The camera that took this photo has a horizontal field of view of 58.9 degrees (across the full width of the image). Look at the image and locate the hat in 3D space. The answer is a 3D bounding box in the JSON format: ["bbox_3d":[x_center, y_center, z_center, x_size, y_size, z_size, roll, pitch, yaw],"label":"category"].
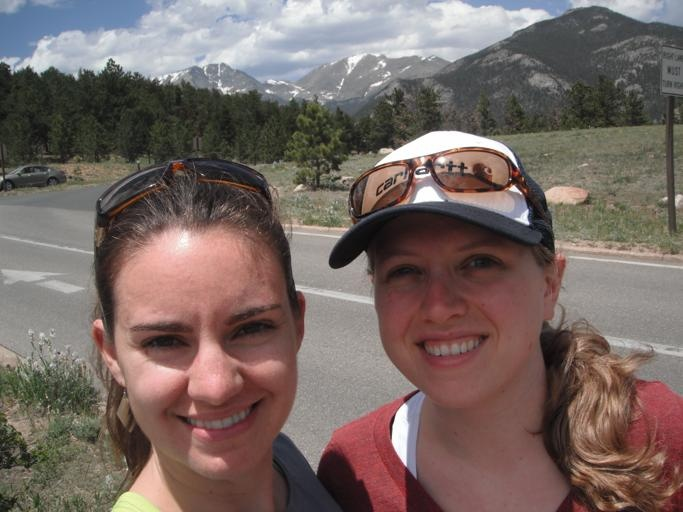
[{"bbox_3d":[0.516,-0.273,3.139,0.936,0.648,1.327,-17,3,22],"label":"hat"}]
